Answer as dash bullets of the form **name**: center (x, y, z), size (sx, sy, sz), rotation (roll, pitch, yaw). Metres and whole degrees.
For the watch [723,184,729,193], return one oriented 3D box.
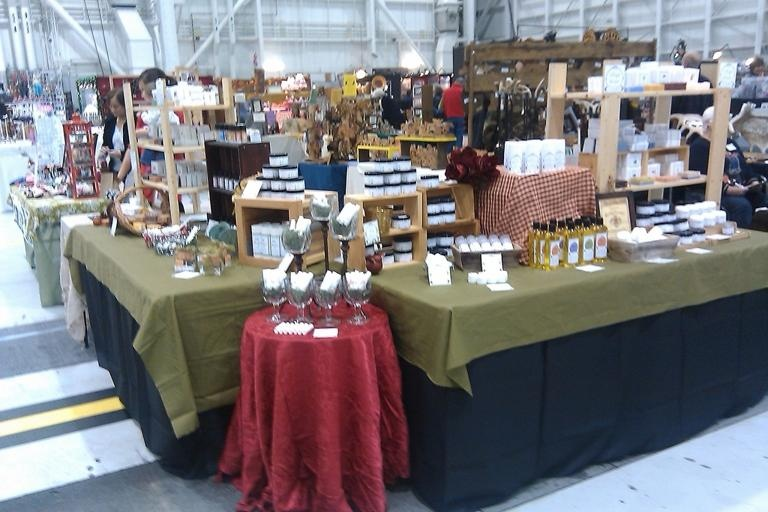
- **watch**: center (3.791, -0.758, 6.507), size (0.022, 0.089, 0.059), rotation (0, 9, -30)

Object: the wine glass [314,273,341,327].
- **wine glass**: center (-0.348, 0.254, 3.702), size (0.174, 0.293, 0.276), rotation (-5, 18, -7)

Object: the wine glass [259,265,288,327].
- **wine glass**: center (-0.697, 0.237, 3.740), size (0.207, 0.318, 0.146), rotation (12, 23, 40)

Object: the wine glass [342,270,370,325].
- **wine glass**: center (-0.172, 0.242, 3.712), size (0.172, 0.297, 0.252), rotation (0, 18, 10)

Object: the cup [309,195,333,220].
- **cup**: center (-0.408, -0.313, 3.848), size (0.132, 0.141, 0.159), rotation (-5, 13, -22)

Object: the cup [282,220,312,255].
- **cup**: center (-0.539, -0.116, 3.697), size (0.180, 0.217, 0.195), rotation (0, 1, 0)

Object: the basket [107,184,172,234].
- **basket**: center (-2.129, -0.383, 5.164), size (0.440, 0.208, 0.523), rotation (18, 30, -11)

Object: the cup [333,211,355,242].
- **cup**: center (-0.249, -0.203, 3.751), size (0.142, 0.177, 0.147), rotation (1, 17, 0)

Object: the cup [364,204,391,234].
- **cup**: center (-0.034, -0.274, 4.267), size (0.189, 0.197, 0.180), rotation (-3, 18, 1)
